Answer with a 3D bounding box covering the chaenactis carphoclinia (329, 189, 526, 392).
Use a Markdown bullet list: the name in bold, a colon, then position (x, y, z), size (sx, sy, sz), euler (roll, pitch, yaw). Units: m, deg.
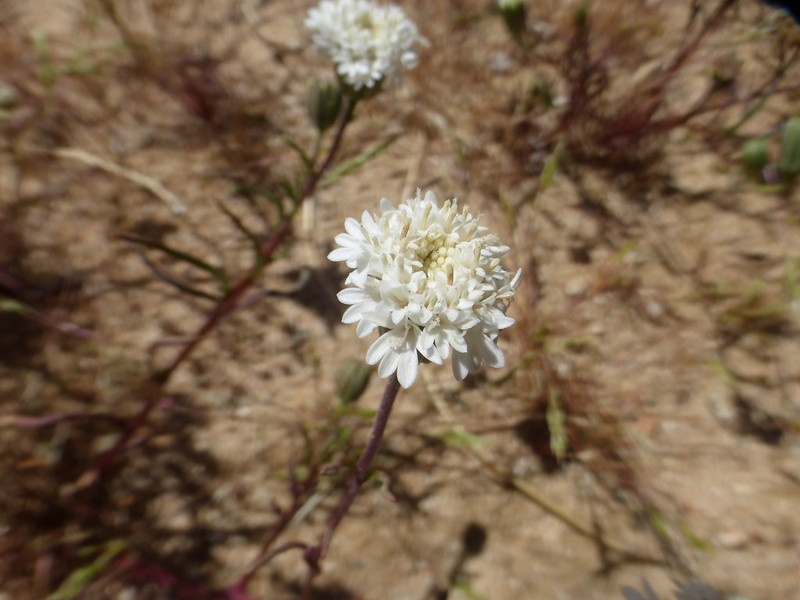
- **chaenactis carphoclinia**: position (0.042, 0.015, 1.285), size (0.265, 0.318, 0.170), euler (12, 90, 2)
